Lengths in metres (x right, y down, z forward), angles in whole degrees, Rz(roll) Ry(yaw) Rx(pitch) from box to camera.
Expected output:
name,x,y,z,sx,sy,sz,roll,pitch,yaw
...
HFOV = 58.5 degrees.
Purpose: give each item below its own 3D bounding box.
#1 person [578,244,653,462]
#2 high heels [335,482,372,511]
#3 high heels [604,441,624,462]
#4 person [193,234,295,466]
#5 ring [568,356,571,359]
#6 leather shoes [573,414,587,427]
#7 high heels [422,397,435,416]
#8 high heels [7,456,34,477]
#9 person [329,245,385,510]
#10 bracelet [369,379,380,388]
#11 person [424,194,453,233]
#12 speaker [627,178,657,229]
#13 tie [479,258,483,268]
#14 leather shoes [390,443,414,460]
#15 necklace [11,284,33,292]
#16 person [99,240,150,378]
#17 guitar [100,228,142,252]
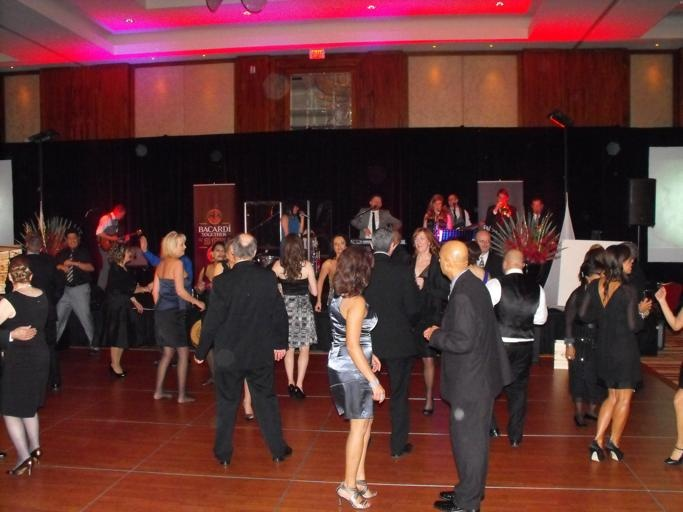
name,x,y,z,sx,sy,sz,roll,pitch,yaw
person,2.727,0.997,6.117,0.482,2.097,0.419,2,9,17
high heels,0.105,2.132,5.494,0.296,0.143,0.179,27,2,9
high heels,2.751,1.975,6.171,0.098,0.116,0.285,18,-24,49
person,-0.963,0.941,6.016,0.881,2.286,0.356,-2,9,-7
ring,2.448,1.087,6.571,0.037,0.021,0.055,0,-3,24
leather shoes,2.698,1.864,6.936,0.107,0.139,0.124,2,6,0
high heels,1.035,1.807,7.295,0.123,0.195,0.432,-1,-10,13
high heels,-3.179,2.062,5.993,0.291,0.169,0.096,1,-3,26
person,0.123,1.081,5.420,0.481,2.329,0.477,0,9,4
bracelet,0.268,1.088,5.230,0.063,0.028,0.070,0,7,-17
person,1.703,-0.768,10.672,0.487,0.570,1.003,1,10,9
speaker,5.375,-0.966,10.920,0.423,0.820,0.290,4,10,25
tie,1.879,0.090,8.273,0.064,0.103,0.099,1,-28,6
leather shoes,0.632,2.014,6.346,0.090,0.115,0.254,6,13,32
necklace,-3.089,0.303,5.906,0.090,0.072,0.094,2,-6,-14
person,-3.076,0.764,8.585,0.534,1.870,0.403,-4,9,-19
guitar,-4.231,-0.300,11.654,0.834,0.118,0.359,4,30,-24
